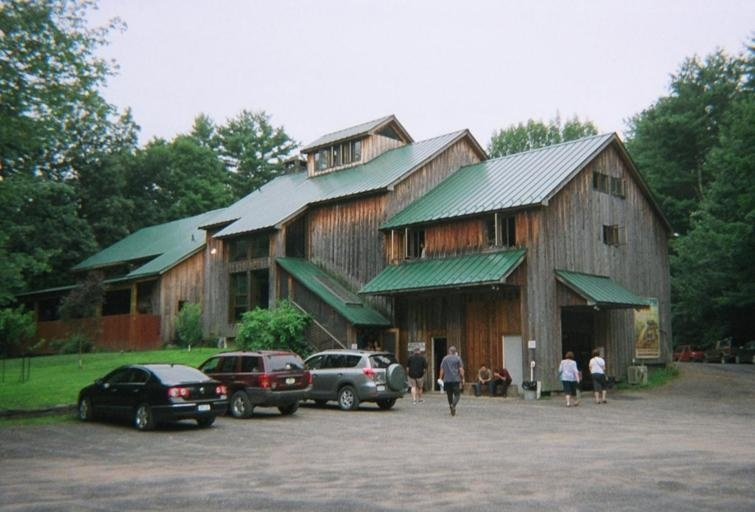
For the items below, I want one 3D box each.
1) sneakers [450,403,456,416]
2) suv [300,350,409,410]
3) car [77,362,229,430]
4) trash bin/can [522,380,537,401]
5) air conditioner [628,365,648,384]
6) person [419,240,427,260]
[{"bbox_3d":[2.893,6.000,27.928,0.140,0.449,0.196,-4,15,3],"label":"sneakers"},{"bbox_3d":[-1.208,5.115,29.987,4.165,1.849,2.092,0,-6,41],"label":"suv"},{"bbox_3d":[-8.071,4.991,25.247,4.933,2.274,1.436,-7,-13,23],"label":"car"},{"bbox_3d":[7.197,6.453,34.275,0.645,0.948,0.798,1,-8,11],"label":"trash bin/can"},{"bbox_3d":[14.004,6.437,38.833,1.102,1.074,0.900,6,-14,-31],"label":"air conditioner"},{"bbox_3d":[2.420,-0.307,39.449,0.264,0.922,0.854,7,-13,-12],"label":"person"}]
